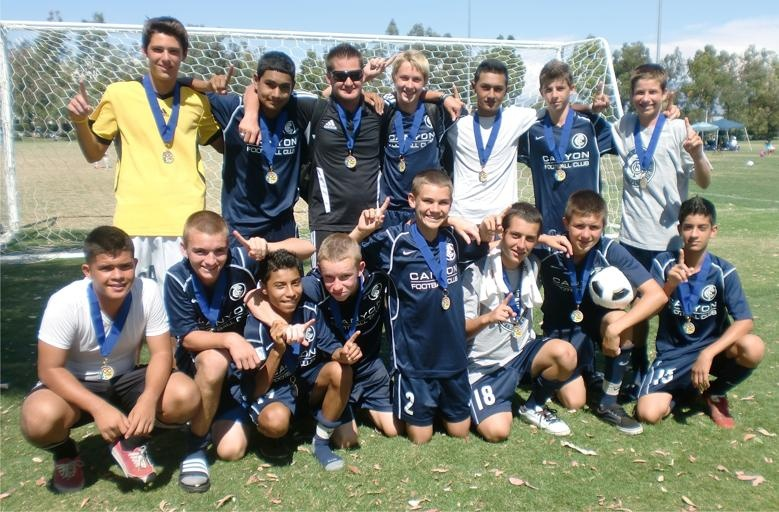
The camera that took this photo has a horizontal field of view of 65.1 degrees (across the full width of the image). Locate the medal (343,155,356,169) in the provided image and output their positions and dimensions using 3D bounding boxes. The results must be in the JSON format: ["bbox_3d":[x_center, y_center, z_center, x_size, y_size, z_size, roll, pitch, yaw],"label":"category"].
[{"bbox_3d":[-0.396,-0.921,5.895,0.113,0.123,0.030,0,-3,-3],"label":"medal"}]

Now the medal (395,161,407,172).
[{"bbox_3d":[0.113,-0.894,5.973,0.075,0.108,0.027,1,5,13],"label":"medal"}]

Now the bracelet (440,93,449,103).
[{"bbox_3d":[0.546,-1.627,6.176,0.089,0.025,0.090,-19,36,35],"label":"bracelet"}]

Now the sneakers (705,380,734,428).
[{"bbox_3d":[2.874,1.331,5.482,0.146,0.301,0.445,-5,58,5],"label":"sneakers"}]

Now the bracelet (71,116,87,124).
[{"bbox_3d":[-2.709,-1.214,5.360,0.128,0.054,0.178,-8,15,-26],"label":"bracelet"}]

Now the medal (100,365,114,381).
[{"bbox_3d":[-2.289,0.944,4.941,0.124,0.154,0.025,0,3,-23],"label":"medal"}]

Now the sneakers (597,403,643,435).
[{"bbox_3d":[2.037,1.461,5.494,0.155,0.175,0.408,-26,29,-32],"label":"sneakers"}]

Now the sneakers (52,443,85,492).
[{"bbox_3d":[-2.544,1.654,4.802,0.241,0.361,0.245,-9,15,-29],"label":"sneakers"}]

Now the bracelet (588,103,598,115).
[{"bbox_3d":[2.091,-1.544,6.332,0.089,0.065,0.106,2,3,2],"label":"bracelet"}]

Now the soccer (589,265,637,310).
[{"bbox_3d":[2.072,0.258,5.702,0.349,0.420,0.441,5,55,24],"label":"soccer"}]
